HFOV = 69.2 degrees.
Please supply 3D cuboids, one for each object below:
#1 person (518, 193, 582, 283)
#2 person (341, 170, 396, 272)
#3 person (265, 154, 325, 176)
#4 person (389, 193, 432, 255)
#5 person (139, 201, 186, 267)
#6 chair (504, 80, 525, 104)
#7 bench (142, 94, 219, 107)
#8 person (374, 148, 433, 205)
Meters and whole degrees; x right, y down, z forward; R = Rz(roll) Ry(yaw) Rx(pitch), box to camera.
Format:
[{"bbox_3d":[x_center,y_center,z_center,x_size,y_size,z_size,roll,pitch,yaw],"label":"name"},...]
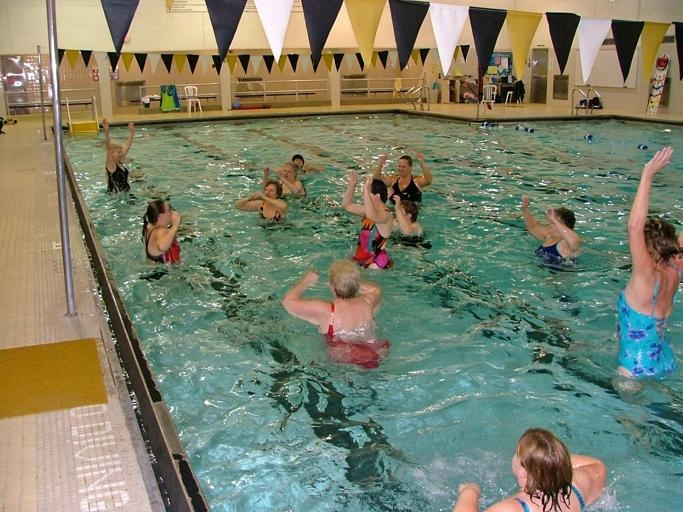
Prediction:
[{"bbox_3d":[2.320,-0.256,5.612,0.662,0.812,0.901,11,18,41],"label":"person"},{"bbox_3d":[0.298,-0.387,5.487,0.536,1.132,1.008,0,14,5],"label":"person"},{"bbox_3d":[-0.889,-1.779,9.804,1.184,0.529,0.646,3,5,35],"label":"person"},{"bbox_3d":[0.923,-0.396,6.644,0.356,0.394,0.947,-5,-11,-3],"label":"person"},{"bbox_3d":[-1.957,-0.237,5.458,0.380,0.720,0.629,-7,15,-21],"label":"person"},{"bbox_3d":[7.775,-7.312,22.118,0.911,1.110,0.963,0,14,6],"label":"chair"},{"bbox_3d":[-6.971,-6.663,21.315,2.820,0.666,2.576,-5,14,-18],"label":"bench"},{"bbox_3d":[0.987,-1.133,7.973,0.877,1.020,0.622,0,24,4],"label":"person"}]
